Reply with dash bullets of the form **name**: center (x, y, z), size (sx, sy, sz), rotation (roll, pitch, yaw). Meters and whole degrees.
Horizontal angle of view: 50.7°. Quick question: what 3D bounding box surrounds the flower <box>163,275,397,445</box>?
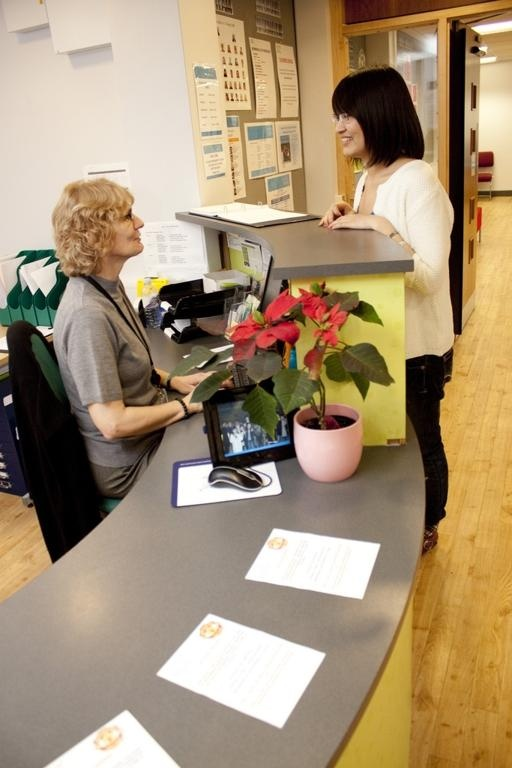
- **flower**: center (0.077, -0.062, 1.015), size (0.349, 0.263, 0.355), rotation (16, 45, 37)

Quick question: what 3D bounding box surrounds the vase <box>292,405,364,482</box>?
- **vase**: center (0.149, 0.128, 1.161), size (0.146, 0.132, 0.154), rotation (-3, 15, 1)

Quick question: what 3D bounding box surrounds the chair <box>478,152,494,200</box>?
- **chair**: center (5.051, -4.615, 11.885), size (0.308, 0.955, 0.477), rotation (-1, 19, 24)

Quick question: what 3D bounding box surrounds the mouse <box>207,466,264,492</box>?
- **mouse**: center (-0.051, 0.193, 1.153), size (0.086, 0.031, 0.057), rotation (1, 20, 13)

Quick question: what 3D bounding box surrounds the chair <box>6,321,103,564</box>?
- **chair**: center (-0.581, 0.171, 1.599), size (0.185, 0.717, 0.232), rotation (3, 21, 33)
